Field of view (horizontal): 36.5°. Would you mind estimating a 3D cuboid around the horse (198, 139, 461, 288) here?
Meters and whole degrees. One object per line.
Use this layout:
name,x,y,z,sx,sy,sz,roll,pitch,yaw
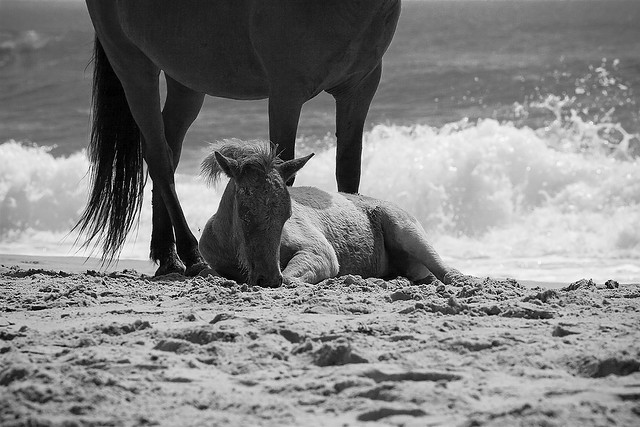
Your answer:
horse,-0.085,0.162,12.236,1.493,1.926,4.147,-11,-16,38
